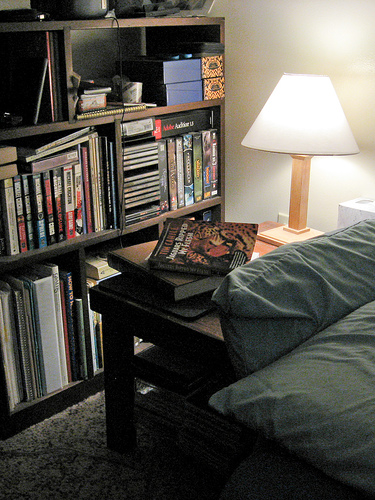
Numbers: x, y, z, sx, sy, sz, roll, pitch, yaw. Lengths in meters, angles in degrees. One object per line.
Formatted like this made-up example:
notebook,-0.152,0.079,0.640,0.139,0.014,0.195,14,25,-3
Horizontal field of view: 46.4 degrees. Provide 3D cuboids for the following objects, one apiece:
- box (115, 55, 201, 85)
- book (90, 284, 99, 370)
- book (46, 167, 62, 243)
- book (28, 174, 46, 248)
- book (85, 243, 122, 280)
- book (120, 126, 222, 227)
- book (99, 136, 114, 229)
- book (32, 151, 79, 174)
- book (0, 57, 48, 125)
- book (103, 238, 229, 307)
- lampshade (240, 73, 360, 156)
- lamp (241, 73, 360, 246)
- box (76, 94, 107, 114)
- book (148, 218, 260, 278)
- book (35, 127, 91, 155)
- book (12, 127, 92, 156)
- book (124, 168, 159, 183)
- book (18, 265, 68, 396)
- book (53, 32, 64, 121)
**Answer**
box,-0.099,-0.651,1.591,0.298,0.111,0.138,-2,13,1
book,-0.343,0.337,1.619,0.013,0.242,0.034,-6,14,-13
book,-0.420,-0.135,1.365,0.051,0.228,0.036,-14,17,-39
book,-0.459,-0.127,1.323,0.026,0.243,0.191,-5,12,-20
book,-0.305,0.042,1.628,0.123,0.023,0.125,-24,34,-4
book,-0.047,-0.322,1.784,0.395,0.318,0.135,-1,-1,27
book,-0.272,-0.225,1.496,0.028,0.313,0.044,-5,13,-10
book,-0.403,-0.268,1.331,0.015,0.057,0.165,7,16,38
book,-0.501,-0.474,1.290,0.242,0.210,0.068,9,17,40
book,-0.028,0.021,0.985,0.197,0.031,0.141,24,28,36
lampshade,0.402,-0.497,1.577,0.457,0.253,0.421,4,14,8
lamp,0.412,-0.317,1.614,0.413,0.586,0.390,-1,17,-8
box,-0.301,-0.456,1.369,0.026,0.060,0.113,7,16,37
book,0.031,-0.006,0.997,0.172,0.033,0.164,-20,29,-34
book,-0.378,-0.338,1.346,0.042,0.080,0.211,4,15,28
book,-0.448,-0.342,1.382,0.183,0.083,0.246,7,16,37
book,-0.182,-0.272,1.602,0.049,0.036,0.171,8,17,39
book,-0.494,0.277,1.463,0.117,0.450,0.093,4,15,26
book,-0.372,-0.496,1.254,0.020,0.229,0.050,-8,14,-19
